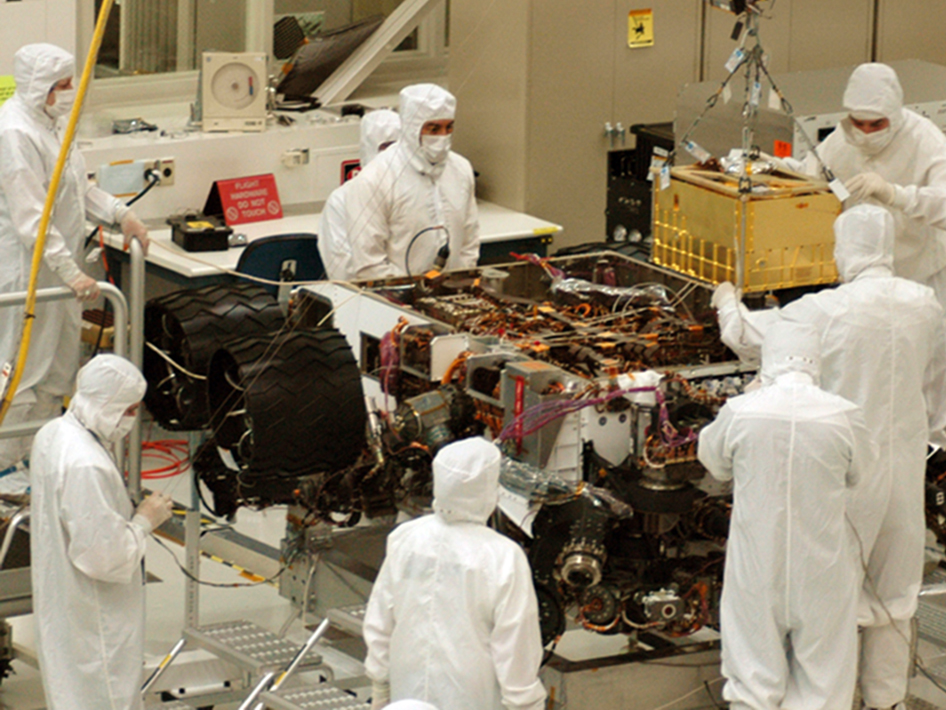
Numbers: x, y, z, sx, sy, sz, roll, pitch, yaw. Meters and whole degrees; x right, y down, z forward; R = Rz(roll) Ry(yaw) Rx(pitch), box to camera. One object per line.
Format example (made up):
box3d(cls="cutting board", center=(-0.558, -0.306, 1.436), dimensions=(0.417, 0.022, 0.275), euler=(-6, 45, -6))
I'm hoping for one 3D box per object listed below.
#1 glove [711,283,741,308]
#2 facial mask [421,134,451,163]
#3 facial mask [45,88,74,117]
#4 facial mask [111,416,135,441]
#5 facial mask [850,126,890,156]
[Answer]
box3d(cls="glove", center=(0.952, -0.227, 4.345), dimensions=(0.081, 0.057, 0.110), euler=(-7, 17, 22))
box3d(cls="facial mask", center=(-0.175, -1.008, 5.502), dimensions=(0.112, 0.105, 0.128), euler=(-6, 37, -20))
box3d(cls="facial mask", center=(-1.883, -1.148, 5.228), dimensions=(0.099, 0.112, 0.121), euler=(-1, -10, -13))
box3d(cls="facial mask", center=(-1.117, 0.234, 3.680), dimensions=(0.027, 0.081, 0.056), euler=(23, -13, -20))
box3d(cls="facial mask", center=(1.764, -0.965, 5.058), dimensions=(0.172, 0.163, 0.145), euler=(3, 10, 25))
